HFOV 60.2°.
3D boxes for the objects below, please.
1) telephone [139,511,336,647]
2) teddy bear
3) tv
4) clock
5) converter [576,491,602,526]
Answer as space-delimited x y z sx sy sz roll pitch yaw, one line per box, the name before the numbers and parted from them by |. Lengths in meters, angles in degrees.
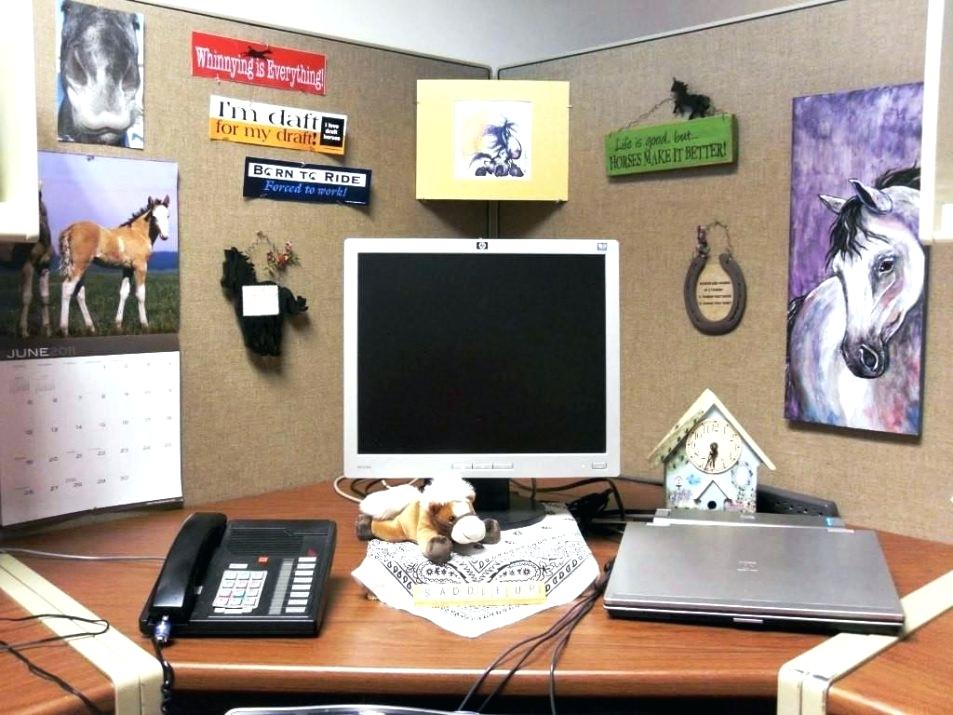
telephone | -0.335 0.317 1.173 0.175 0.068 0.185 -1 24 2
teddy bear | -0.092 0.256 1.331 0.192 0.094 0.119 -6 -9 38
tv | 0.003 0.030 1.426 0.487 0.488 0.193 0 -4 0
clock | 0.428 0.166 1.475 0.209 0.207 0.110 -1 -2 10
converter | 0.200 0.266 1.473 0.048 0.036 0.018 -29 -27 21
